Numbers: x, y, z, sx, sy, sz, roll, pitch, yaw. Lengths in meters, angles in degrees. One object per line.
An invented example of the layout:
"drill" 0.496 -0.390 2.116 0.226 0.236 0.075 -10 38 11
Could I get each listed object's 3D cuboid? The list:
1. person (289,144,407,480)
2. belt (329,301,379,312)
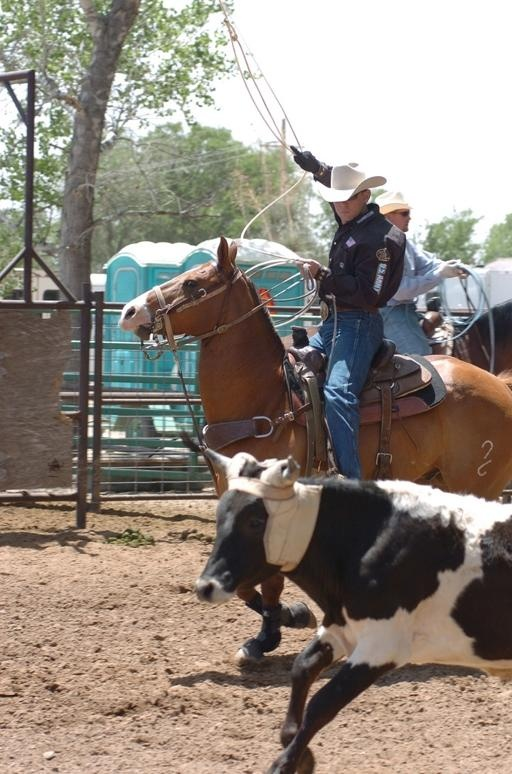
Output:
"person" 0.550 -0.421 4.882 0.543 1.753 1.011 1 5 7
"belt" 0.534 -0.439 4.860 0.147 0.043 0.121 3 -2 18
